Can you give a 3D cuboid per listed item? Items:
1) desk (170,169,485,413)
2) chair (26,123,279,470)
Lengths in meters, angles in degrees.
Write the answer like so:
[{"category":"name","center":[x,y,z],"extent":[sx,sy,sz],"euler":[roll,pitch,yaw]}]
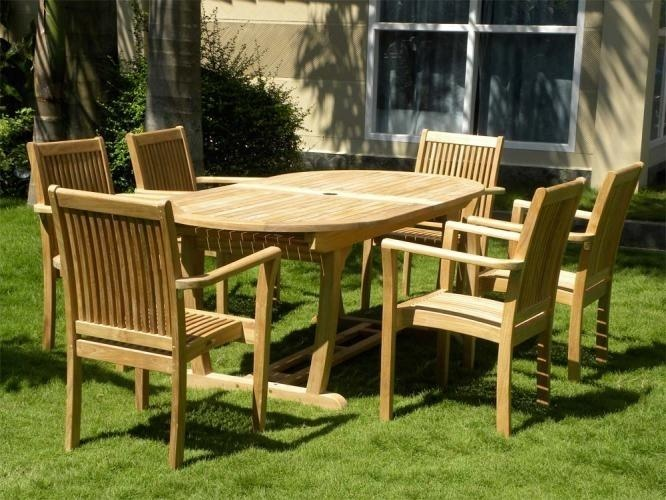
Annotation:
[{"category":"desk","center":[0.237,0.233,5.387],"extent":[1.201,1.092,2.266],"euler":[7,-14,1]},{"category":"chair","center":[-0.898,0.371,3.987],"extent":[1.119,1.435,0.592],"euler":[-5,12,-25]}]
